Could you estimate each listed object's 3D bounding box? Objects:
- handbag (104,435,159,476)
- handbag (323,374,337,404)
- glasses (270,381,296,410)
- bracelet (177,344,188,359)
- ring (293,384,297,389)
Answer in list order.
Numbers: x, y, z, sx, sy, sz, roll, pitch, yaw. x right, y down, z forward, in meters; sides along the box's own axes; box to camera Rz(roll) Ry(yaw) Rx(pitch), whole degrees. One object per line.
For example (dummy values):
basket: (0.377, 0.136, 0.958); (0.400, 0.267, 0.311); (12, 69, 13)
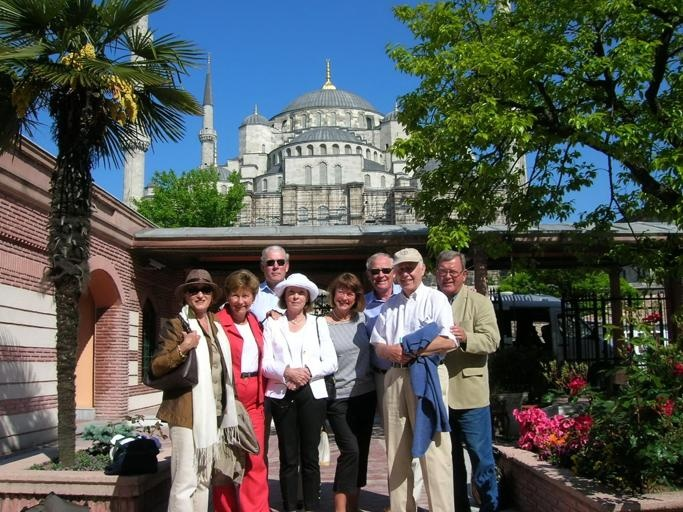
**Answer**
handbag: (-2.520, 2.411, 8.135); (0.414, 0.362, 0.559); (16, -30, -30)
handbag: (-0.122, 1.498, 7.689); (0.104, 0.270, 0.202); (-5, -7, 11)
glasses: (-0.688, 1.575, 7.555); (0.226, 0.075, 0.231); (-8, -21, -39)
bracelet: (-1.649, 0.982, 6.977); (0.046, 0.130, 0.095); (-4, 16, 37)
ring: (-0.520, 1.441, 7.458); (0.041, 0.050, 0.021); (2, -9, 2)
